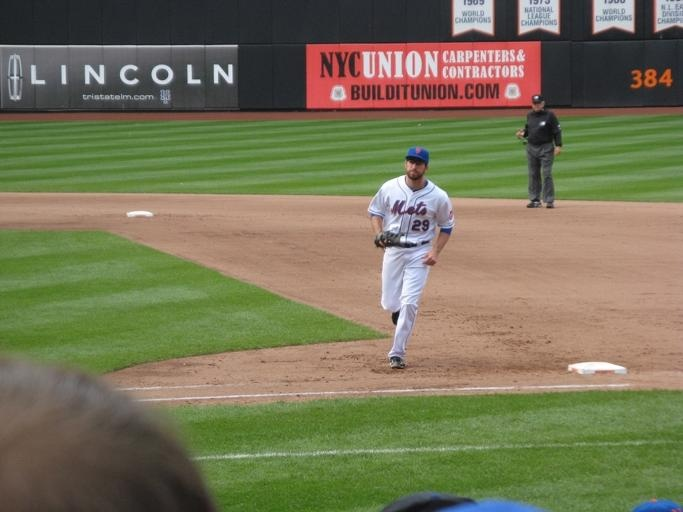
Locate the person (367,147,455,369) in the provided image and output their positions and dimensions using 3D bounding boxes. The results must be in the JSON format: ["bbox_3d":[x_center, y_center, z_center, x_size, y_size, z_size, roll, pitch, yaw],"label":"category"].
[{"bbox_3d":[1.177,0.013,22.938,1.306,3.686,0.926,-3,7,-1],"label":"person"}]

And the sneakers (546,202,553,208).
[{"bbox_3d":[4.752,-1.163,30.719,0.167,0.149,0.228,-2,7,8],"label":"sneakers"}]

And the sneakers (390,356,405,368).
[{"bbox_3d":[0.966,1.793,22.782,0.308,0.204,0.189,-4,7,-17],"label":"sneakers"}]

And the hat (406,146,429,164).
[{"bbox_3d":[1.330,-1.755,23.082,0.341,0.196,0.424,8,-2,7],"label":"hat"}]

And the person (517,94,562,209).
[{"bbox_3d":[4.544,-2.368,30.742,0.915,2.553,0.590,-1,7,14],"label":"person"}]

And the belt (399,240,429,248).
[{"bbox_3d":[1.230,-0.202,22.966,0.506,0.114,0.037,-3,7,-11],"label":"belt"}]
